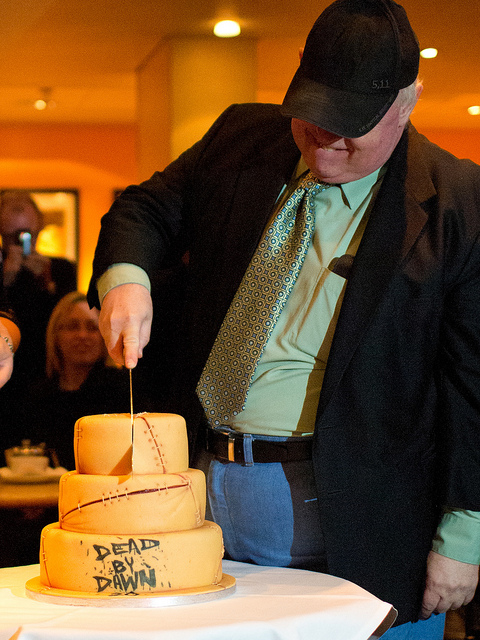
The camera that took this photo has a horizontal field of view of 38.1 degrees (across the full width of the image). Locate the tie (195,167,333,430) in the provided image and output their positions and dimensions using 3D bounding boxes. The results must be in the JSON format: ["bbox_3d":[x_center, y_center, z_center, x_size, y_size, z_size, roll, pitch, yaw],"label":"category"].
[{"bbox_3d":[0.083,-0.018,1.324,0.158,0.601,0.038,23,-3,39],"label":"tie"}]

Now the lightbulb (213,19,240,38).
[{"bbox_3d":[-0.055,-1.198,2.876,0.104,0.044,0.138,2,1,0],"label":"lightbulb"}]

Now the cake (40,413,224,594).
[{"bbox_3d":[-0.174,0.282,1.149,0.332,0.233,0.301,0,-4,1],"label":"cake"}]

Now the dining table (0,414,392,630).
[{"bbox_3d":[-0.116,0.300,1.084,0.524,0.223,0.500,2,1,-27],"label":"dining table"}]

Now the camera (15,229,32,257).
[{"bbox_3d":[-1.286,-0.457,4.150,0.046,0.161,0.126,3,1,23],"label":"camera"}]
